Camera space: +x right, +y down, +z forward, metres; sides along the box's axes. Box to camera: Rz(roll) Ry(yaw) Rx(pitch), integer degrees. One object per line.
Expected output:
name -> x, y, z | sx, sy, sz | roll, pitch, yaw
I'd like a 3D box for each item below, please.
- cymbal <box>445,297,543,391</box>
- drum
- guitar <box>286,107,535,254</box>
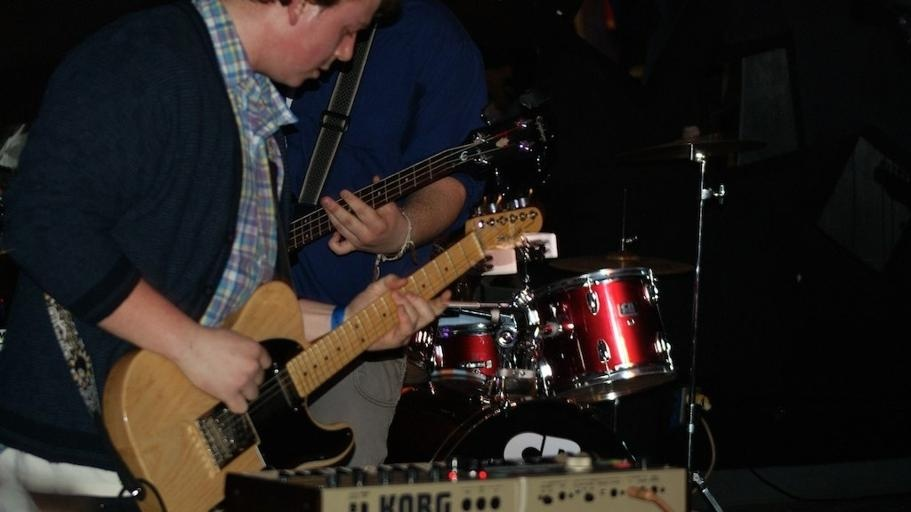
cymbal -> 0.227, 0.652, 4.968 | 0.706, 0.485, 0.608 | -1, 42, -2
drum -> 0.993, 0.553, 5.143 | 0.976, 0.670, 0.977 | -13, -18, -4
guitar -> -0.322, -0.454, 4.343 | 1.859, 0.274, 0.298 | -20, -9, 0
